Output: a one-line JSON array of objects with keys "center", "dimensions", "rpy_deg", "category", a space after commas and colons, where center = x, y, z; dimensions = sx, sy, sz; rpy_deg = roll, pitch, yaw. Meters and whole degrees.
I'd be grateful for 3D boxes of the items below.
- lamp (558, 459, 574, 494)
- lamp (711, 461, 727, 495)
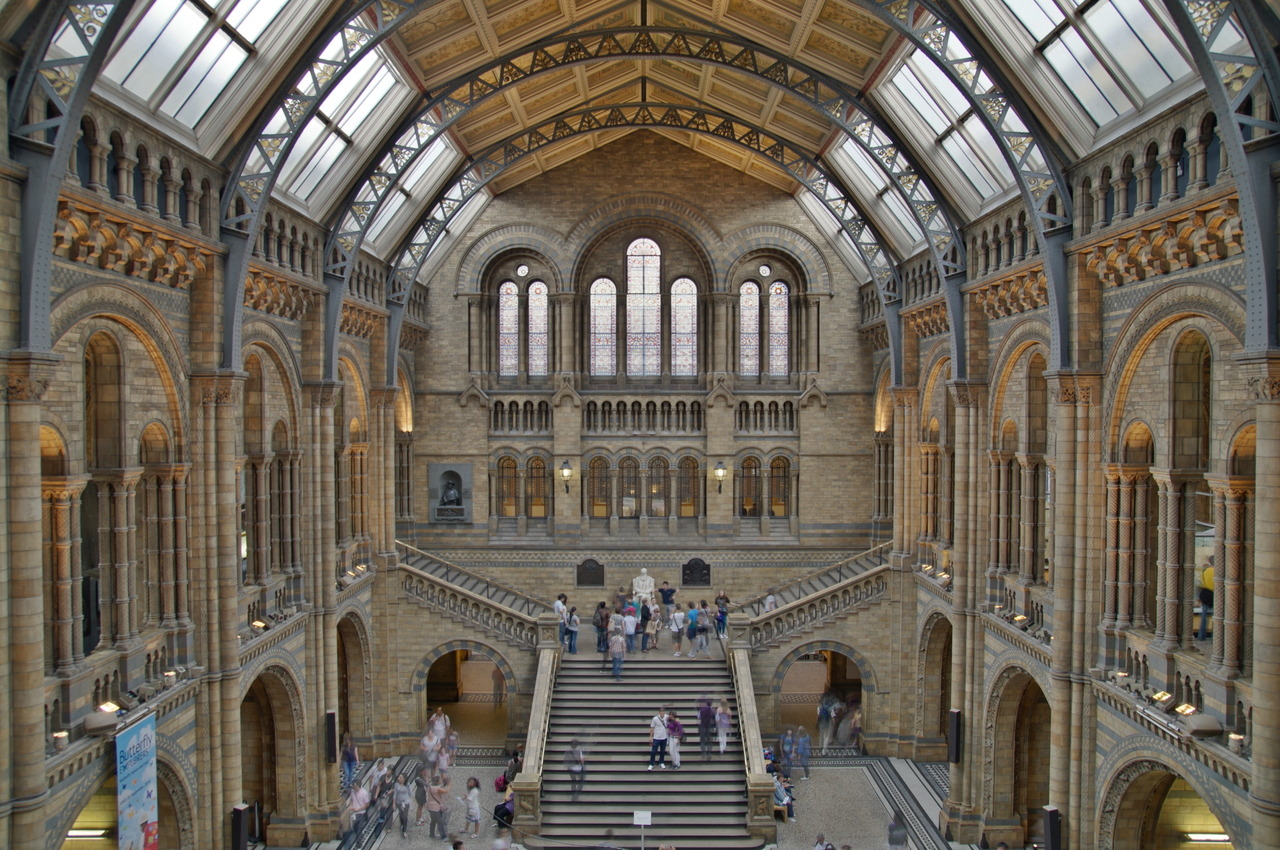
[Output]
[{"center": [-2.863, 1.960, 39.982], "dimensions": [0.572, 1.363, 0.321], "rpy_deg": [6, -9, -28], "category": "lamp"}, {"center": [3.149, 2.038, 39.994], "dimensions": [0.597, 1.210, 0.303], "rpy_deg": [3, -8, -5], "category": "lamp"}]
